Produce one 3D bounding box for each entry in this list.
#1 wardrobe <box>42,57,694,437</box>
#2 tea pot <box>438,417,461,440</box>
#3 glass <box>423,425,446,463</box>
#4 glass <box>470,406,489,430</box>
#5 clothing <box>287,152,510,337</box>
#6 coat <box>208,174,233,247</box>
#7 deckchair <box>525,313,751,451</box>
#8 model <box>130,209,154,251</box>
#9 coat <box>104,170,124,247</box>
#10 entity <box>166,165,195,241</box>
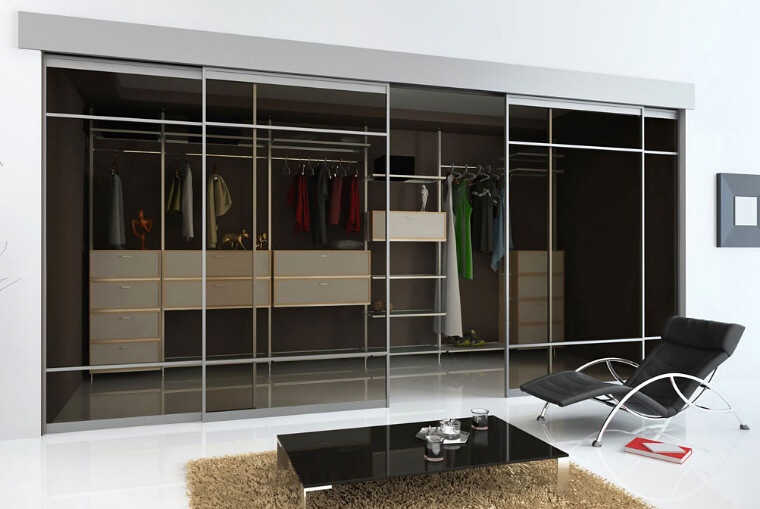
[{"bbox_3d":[0.114,-0.289,7.154,6.972,3.525,1.606,-2,8,-13],"label":"wardrobe"},{"bbox_3d":[0.571,1.392,5.025,0.139,0.137,0.143,0,-4,0],"label":"tea pot"},{"bbox_3d":[0.431,1.500,4.942,0.121,0.171,0.200,0,16,-3],"label":"glass"},{"bbox_3d":[0.832,1.368,5.241,0.147,0.147,0.152,0,-3,-4],"label":"glass"},{"bbox_3d":[0.183,-0.148,7.618,2.526,1.698,0.369,0,-4,-22],"label":"clothing"},{"bbox_3d":[-1.621,-0.451,6.341,0.261,0.732,0.133,-2,8,-16],"label":"coat"},{"bbox_3d":[2.542,1.133,6.205,1.851,1.094,1.121,2,-2,-19],"label":"deckchair"},{"bbox_3d":[-2.379,-0.252,6.292,0.205,0.391,0.058,-4,9,-24],"label":"model"},{"bbox_3d":[-2.610,-0.442,6.201,0.164,0.742,0.139,-4,9,-24],"label":"coat"},{"bbox_3d":[-2.043,-0.534,6.419,0.274,0.782,0.173,-3,8,-21],"label":"entity"}]
